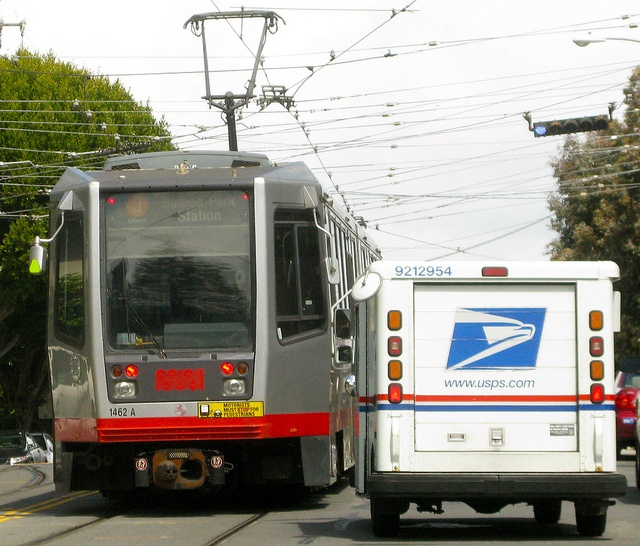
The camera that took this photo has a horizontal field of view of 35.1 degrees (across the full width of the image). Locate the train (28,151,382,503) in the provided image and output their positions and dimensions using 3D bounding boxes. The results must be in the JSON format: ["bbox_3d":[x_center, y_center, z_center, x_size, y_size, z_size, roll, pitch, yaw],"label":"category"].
[{"bbox_3d":[-0.726,0.760,16.700,3.447,4.268,10.209,-1,-2,10],"label":"train"}]

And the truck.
[{"bbox_3d":[1.665,1.004,9.654,1.805,1.542,2.934,0,-3,4],"label":"truck"}]

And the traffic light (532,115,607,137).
[{"bbox_3d":[5.338,-3.128,21.546,1.542,0.453,0.658,-4,-7,14],"label":"traffic light"}]
